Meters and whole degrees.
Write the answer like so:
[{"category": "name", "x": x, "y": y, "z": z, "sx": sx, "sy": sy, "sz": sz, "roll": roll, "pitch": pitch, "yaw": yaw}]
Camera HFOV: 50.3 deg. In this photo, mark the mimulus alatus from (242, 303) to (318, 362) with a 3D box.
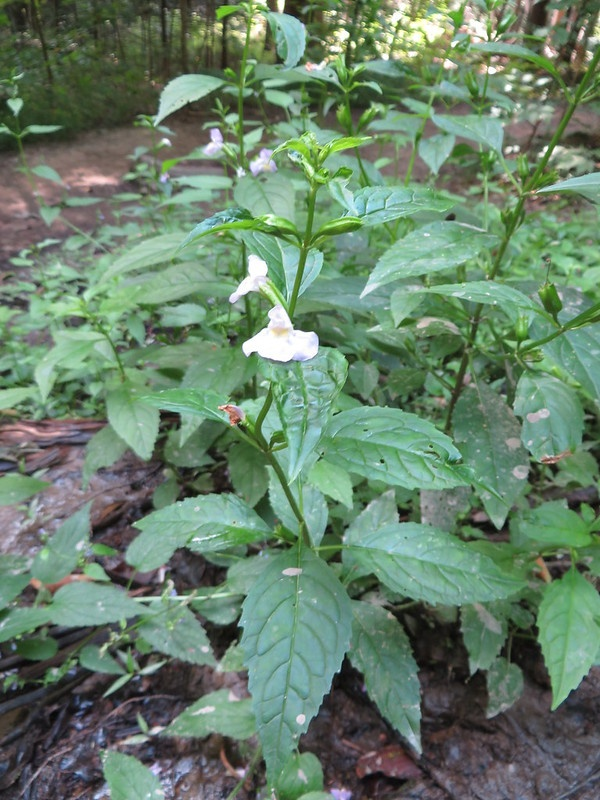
[{"category": "mimulus alatus", "x": -0.041, "y": -0.158, "z": 1.404, "sx": 0.170, "sy": 0.067, "sz": 0.163, "roll": 6, "pitch": 41, "yaw": 3}]
